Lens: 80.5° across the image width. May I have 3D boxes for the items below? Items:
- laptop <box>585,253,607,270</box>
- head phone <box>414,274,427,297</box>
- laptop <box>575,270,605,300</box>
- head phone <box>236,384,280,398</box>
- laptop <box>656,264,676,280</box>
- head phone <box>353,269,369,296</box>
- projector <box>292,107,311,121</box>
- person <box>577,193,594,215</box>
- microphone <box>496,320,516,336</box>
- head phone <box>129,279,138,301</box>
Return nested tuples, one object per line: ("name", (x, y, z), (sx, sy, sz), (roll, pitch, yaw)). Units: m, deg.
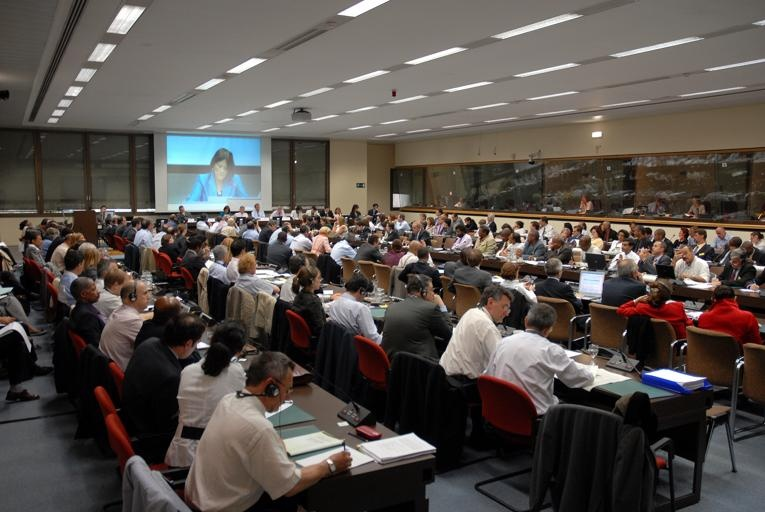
("laptop", (4.181, 0.106, 8.840), (0.304, 0.427, 0.425), (-17, 12, -42))
("head phone", (0.451, 0.323, 5.171), (0.098, 0.206, 0.146), (-6, 0, 0))
("laptop", (3.417, 0.461, 7.404), (0.519, 0.521, 0.418), (5, 1, 40))
("head phone", (-0.747, 0.815, 2.752), (0.145, 0.051, 0.119), (-4, -1, -11))
("laptop", (5.020, 0.273, 8.014), (0.160, 0.211, 0.227), (-13, 10, -35))
("head phone", (-0.216, 0.338, 5.232), (0.168, 0.242, 0.192), (-5, 24, -19))
("projector", (-2.454, -4.266, 13.669), (0.533, 0.322, 0.653), (-3, 6, -10))
("person", (6.996, -1.779, 15.476), (0.553, 0.876, 0.560), (0, -1, -24))
("microphone", (1.437, 0.856, 5.269), (0.197, 0.070, 0.196), (-2, 5, -44))
("head phone", (-2.540, 0.349, 4.612), (0.076, 0.224, 0.188), (-1, 1, -20))
